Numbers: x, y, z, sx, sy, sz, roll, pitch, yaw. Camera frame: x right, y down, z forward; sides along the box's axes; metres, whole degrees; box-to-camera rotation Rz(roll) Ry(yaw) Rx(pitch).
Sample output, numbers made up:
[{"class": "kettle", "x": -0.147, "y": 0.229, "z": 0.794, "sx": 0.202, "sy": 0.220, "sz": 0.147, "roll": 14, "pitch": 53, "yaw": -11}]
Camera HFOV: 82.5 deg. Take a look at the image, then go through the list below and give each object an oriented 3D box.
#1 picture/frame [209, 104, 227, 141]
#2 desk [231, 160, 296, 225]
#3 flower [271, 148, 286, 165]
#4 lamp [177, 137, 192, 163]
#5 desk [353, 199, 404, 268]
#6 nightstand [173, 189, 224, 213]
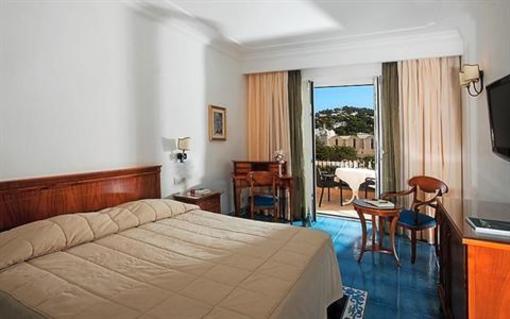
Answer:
[{"class": "picture/frame", "x": -0.707, "y": -0.680, "z": 5.436, "sx": 0.059, "sy": 0.807, "sz": 0.718, "roll": -2, "pitch": -4, "yaw": 31}, {"class": "desk", "x": 0.032, "y": 0.497, "z": 5.805, "sx": 1.491, "sy": 1.470, "sz": 1.125, "roll": 0, "pitch": -7, "yaw": -3}, {"class": "flower", "x": 0.465, "y": -0.063, "z": 5.748, "sx": 0.277, "sy": 0.270, "sz": 0.267, "roll": 1, "pitch": -1, "yaw": -13}, {"class": "lamp", "x": -1.165, "y": -0.143, "z": 4.756, "sx": 0.225, "sy": 0.407, "sz": 0.325, "roll": -2, "pitch": 5, "yaw": -13}, {"class": "desk", "x": 1.855, "y": 1.083, "z": 4.307, "sx": 0.717, "sy": 0.786, "sz": 0.680, "roll": 1, "pitch": -7, "yaw": 10}, {"class": "nightstand", "x": -0.851, "y": 0.638, "z": 4.694, "sx": 0.402, "sy": 0.543, "sz": 0.568, "roll": 1, "pitch": 3, "yaw": 21}]
